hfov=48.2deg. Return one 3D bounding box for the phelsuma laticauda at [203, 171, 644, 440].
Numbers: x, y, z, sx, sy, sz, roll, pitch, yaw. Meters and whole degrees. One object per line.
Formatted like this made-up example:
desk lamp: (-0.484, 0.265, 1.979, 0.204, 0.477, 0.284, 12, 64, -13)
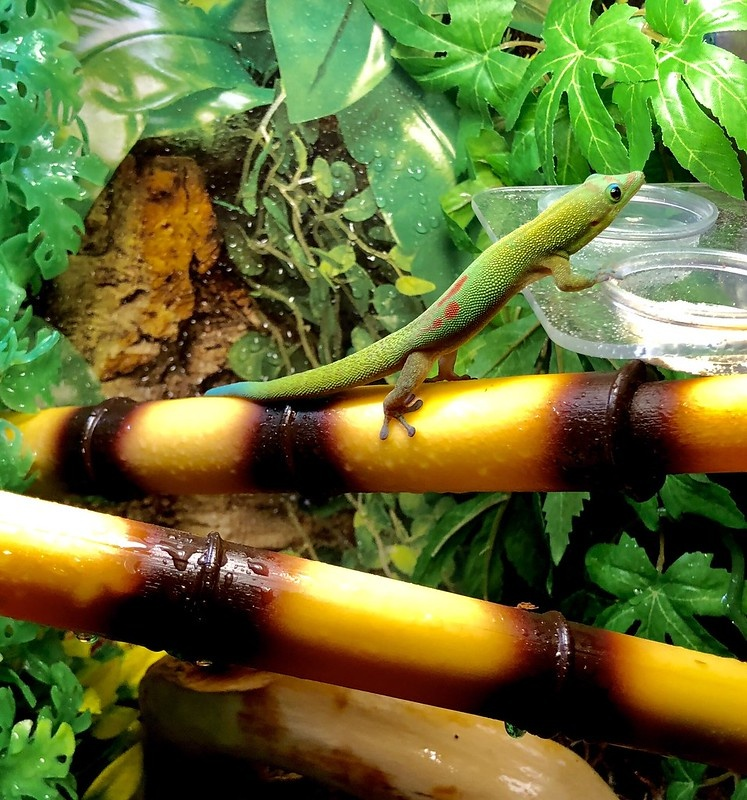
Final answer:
phelsuma laticauda: (0.128, -0.106, 1.500, 0.247, 0.967, 0.303, 65, 19, 5)
